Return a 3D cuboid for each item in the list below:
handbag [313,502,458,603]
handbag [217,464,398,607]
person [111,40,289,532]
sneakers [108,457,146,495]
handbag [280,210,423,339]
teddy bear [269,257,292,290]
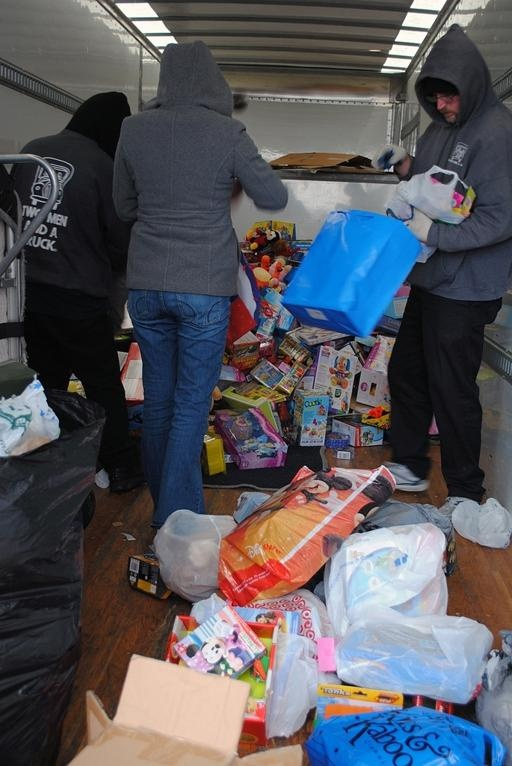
[{"bbox_3d":[0.430,0.426,1.547,0.350,0.109,0.256,-28,37,-29],"label":"handbag"},{"bbox_3d":[0.150,0.386,1.395,0.437,0.143,0.261,-38,30,-24],"label":"handbag"},{"bbox_3d":[-0.197,-0.305,1.719,0.549,1.403,0.334,2,20,-3],"label":"person"},{"bbox_3d":[-0.533,0.390,2.244,0.080,0.090,0.226,0,10,21],"label":"sneakers"},{"bbox_3d":[0.199,-0.244,1.137,0.208,0.224,0.245,17,24,32],"label":"handbag"},{"bbox_3d":[0.127,-0.627,3.051,0.115,0.192,0.058,30,-23,-7],"label":"teddy bear"}]
